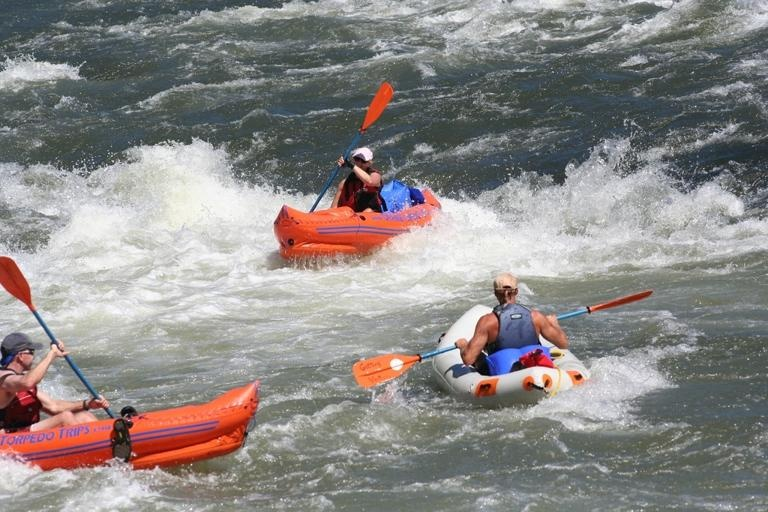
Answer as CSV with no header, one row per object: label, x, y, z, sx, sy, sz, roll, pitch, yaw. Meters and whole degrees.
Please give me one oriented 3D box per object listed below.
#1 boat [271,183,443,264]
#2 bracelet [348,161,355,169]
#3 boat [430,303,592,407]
boat,-0.502,-0.430,18.626,2.299,0.606,0.995,-3,0,-26
bracelet,-0.547,-1.494,18.652,0.108,0.130,0.133,1,17,4
boat,1.680,1.368,15.286,2.044,0.613,2.201,-11,24,-3
